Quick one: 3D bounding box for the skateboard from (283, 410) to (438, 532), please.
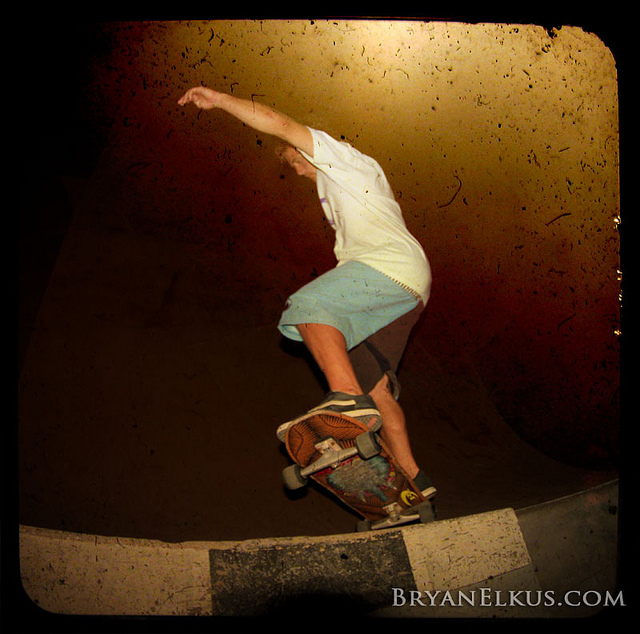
[{"bbox_3d":[0.166,0.645,2.607,0.365,0.112,0.765,-33,33,-19],"label":"skateboard"}]

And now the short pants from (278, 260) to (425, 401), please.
[{"bbox_3d":[0.038,0.050,2.815,0.629,0.286,0.511,-42,105,-31],"label":"short pants"}]

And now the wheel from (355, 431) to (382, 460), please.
[{"bbox_3d":[0.183,0.476,2.492,0.096,0.140,0.097,-1,77,5],"label":"wheel"}]
